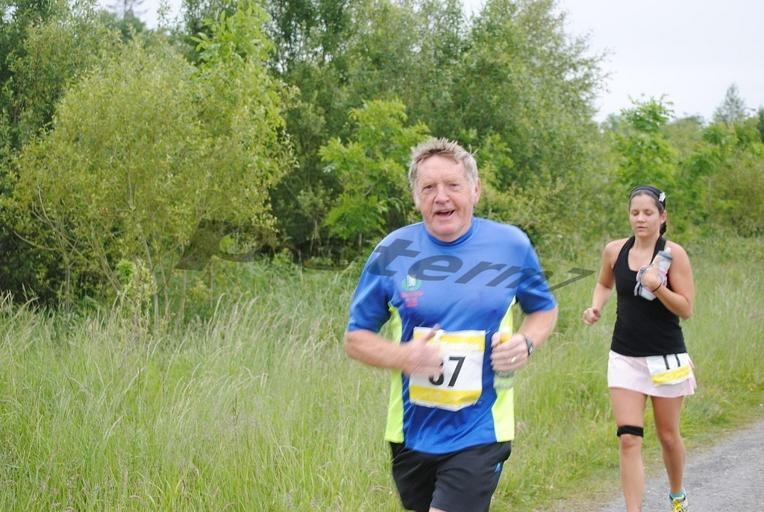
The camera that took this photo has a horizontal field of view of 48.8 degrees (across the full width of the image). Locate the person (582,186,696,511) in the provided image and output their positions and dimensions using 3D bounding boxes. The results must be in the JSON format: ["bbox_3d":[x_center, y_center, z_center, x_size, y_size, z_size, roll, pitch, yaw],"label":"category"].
[{"bbox_3d":[2.776,0.963,8.956,0.994,3.409,0.687,1,-5,20],"label":"person"}]

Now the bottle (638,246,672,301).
[{"bbox_3d":[2.866,0.191,8.796,0.184,0.541,0.326,14,-33,52],"label":"bottle"}]
